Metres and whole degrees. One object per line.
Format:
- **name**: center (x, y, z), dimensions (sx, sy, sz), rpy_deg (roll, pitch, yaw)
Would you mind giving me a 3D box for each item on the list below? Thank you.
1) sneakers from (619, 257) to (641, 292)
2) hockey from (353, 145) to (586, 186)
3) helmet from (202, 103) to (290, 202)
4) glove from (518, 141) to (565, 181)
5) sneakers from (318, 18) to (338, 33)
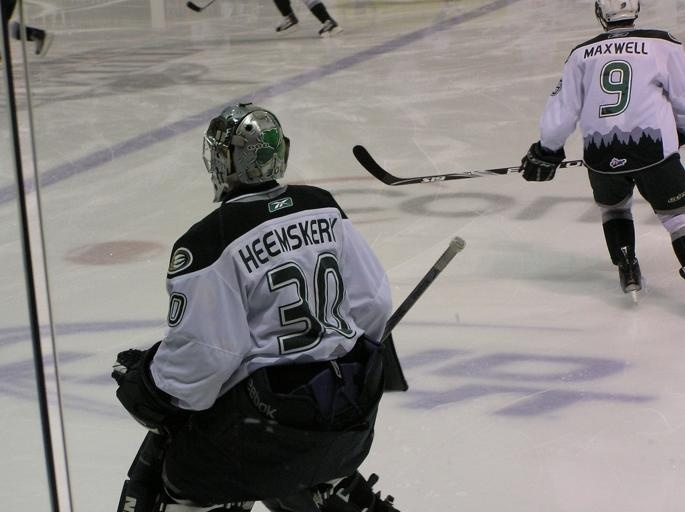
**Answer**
- **sneakers**: center (1.417, 0.111, 4.436), dimensions (0.109, 0.172, 0.193), rpy_deg (-2, 14, 17)
- **hockey**: center (0.864, -0.564, 5.454), dimensions (1.719, 0.251, 0.158), rpy_deg (-7, -9, -30)
- **helmet**: center (-0.288, -0.316, 2.884), dimensions (0.280, 0.278, 0.283), rpy_deg (-9, 10, -19)
- **glove**: center (1.103, -0.512, 4.826), dimensions (0.228, 0.203, 0.158), rpy_deg (-3, 48, 3)
- **sneakers**: center (-0.129, -2.034, 8.033), dimensions (0.186, 0.127, 0.130), rpy_deg (-6, 14, 0)
